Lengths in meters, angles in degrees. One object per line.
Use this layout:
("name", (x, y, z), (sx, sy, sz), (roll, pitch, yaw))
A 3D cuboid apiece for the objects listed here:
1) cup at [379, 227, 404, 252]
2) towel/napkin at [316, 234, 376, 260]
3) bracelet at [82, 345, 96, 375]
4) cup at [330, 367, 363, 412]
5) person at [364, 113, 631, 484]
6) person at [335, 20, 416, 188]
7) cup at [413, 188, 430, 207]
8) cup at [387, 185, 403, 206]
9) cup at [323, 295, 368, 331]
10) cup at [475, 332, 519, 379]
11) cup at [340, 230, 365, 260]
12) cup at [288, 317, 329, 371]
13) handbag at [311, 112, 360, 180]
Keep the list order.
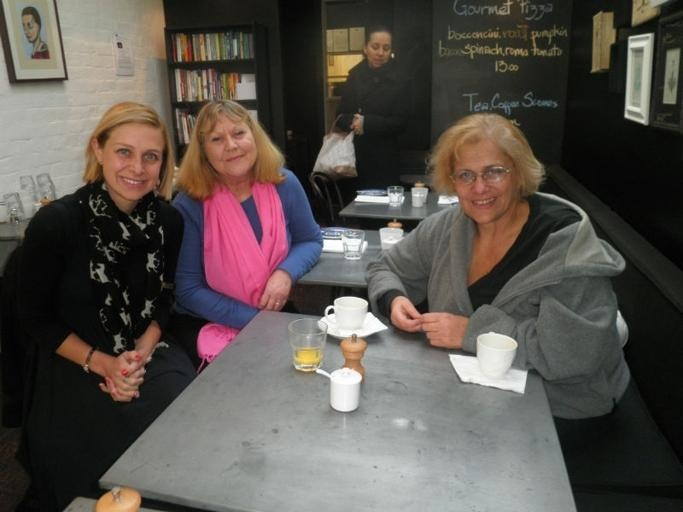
("cup", (0.251, -0.084, 2.556), (0.106, 0.098, 0.120), (-2, 6, -13))
("towel/napkin", (-0.043, -0.052, 2.812), (0.168, 0.042, 0.163), (5, 34, 5))
("bracelet", (-0.961, 0.394, 1.906), (0.049, 0.084, 0.084), (10, 25, -2))
("cup", (0.010, 0.374, 1.442), (0.103, 0.115, 0.105), (1, 17, 0))
("person", (0.604, 0.193, 2.049), (0.977, 1.424, 0.855), (2, 10, 39))
("person", (0.317, -1.294, 5.416), (0.755, 2.082, 0.684), (20, 38, 33))
("cup", (0.566, -0.428, 3.631), (0.125, 0.142, 0.131), (0, 7, 0))
("cup", (0.392, -0.443, 3.684), (0.133, 0.150, 0.134), (0, 3, 0))
("cup", (0.014, 0.217, 1.772), (0.153, 0.097, 0.119), (0, 1, -27))
("cup", (0.476, 0.316, 1.564), (0.120, 0.116, 0.144), (5, 14, 10))
("cup", (0.062, -0.062, 2.670), (0.137, 0.157, 0.140), (-3, 11, 1))
("cup", (-0.114, 0.293, 1.607), (0.121, 0.136, 0.116), (2, -2, 0))
("handbag", (-0.049, -1.111, 4.969), (0.502, 0.643, 0.230), (9, 0, 38))
